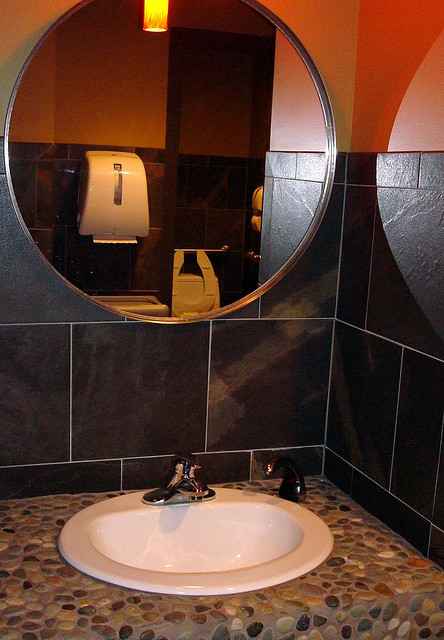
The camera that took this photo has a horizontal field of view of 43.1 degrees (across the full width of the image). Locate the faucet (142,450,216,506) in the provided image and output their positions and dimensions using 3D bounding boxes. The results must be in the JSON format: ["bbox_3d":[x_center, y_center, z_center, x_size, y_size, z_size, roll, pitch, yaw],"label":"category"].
[{"bbox_3d":[-0.086,0.341,1.245,0.175,0.085,0.092,-1,3,-22],"label":"faucet"}]
